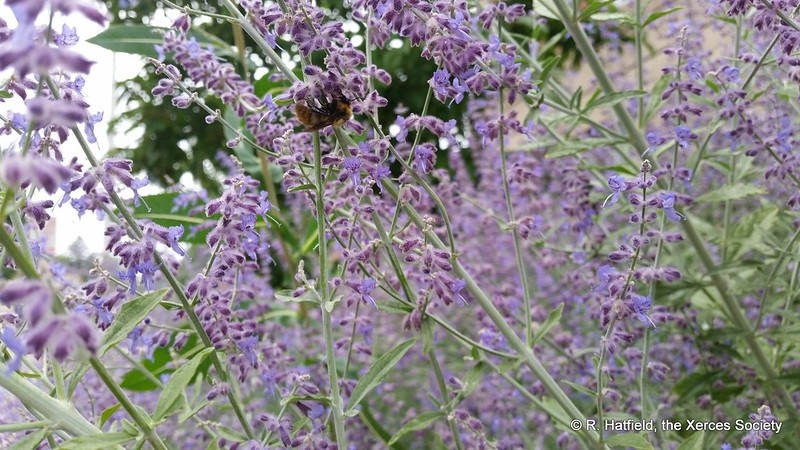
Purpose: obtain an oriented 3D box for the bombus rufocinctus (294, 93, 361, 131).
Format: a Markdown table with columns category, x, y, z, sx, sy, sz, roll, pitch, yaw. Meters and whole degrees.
| category | x | y | z | sx | sy | sz | roll | pitch | yaw |
| --- | --- | --- | --- | --- | --- | --- | --- | --- | --- |
| bombus rufocinctus | -0.294 | -0.441 | 3.275 | 0.188 | 0.059 | 0.134 | -20 | -11 | -16 |
